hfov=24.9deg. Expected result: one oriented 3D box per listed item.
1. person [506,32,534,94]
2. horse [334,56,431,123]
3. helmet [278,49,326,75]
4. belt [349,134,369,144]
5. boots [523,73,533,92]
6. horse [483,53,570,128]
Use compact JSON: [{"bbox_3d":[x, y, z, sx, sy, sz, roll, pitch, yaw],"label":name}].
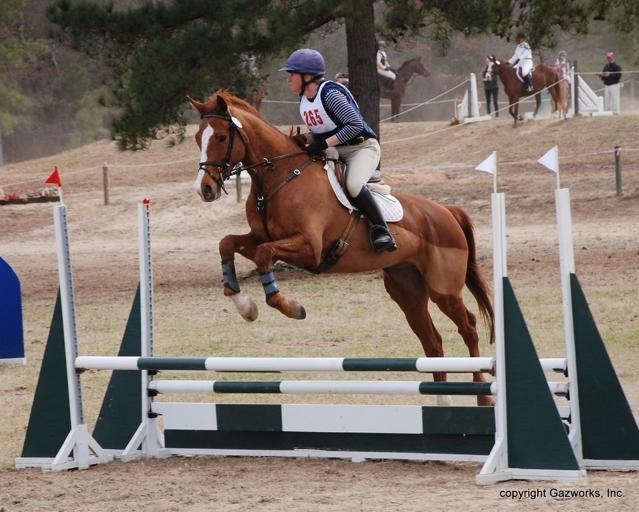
[{"bbox_3d":[4.327,-4.089,30.871,0.505,1.110,0.790,-5,8,9],"label":"person"},{"bbox_3d":[1.690,-4.081,36.043,2.284,1.549,0.538,-6,-6,26],"label":"horse"},{"bbox_3d":[-0.166,-2.387,17.717,0.449,0.224,0.298,8,3,-13],"label":"helmet"},{"bbox_3d":[0.501,-1.451,17.735,0.149,0.049,0.126,-23,-4,6],"label":"belt"},{"bbox_3d":[4.477,-3.766,30.886,0.246,0.242,0.590,12,-11,16],"label":"boots"},{"bbox_3d":[4.552,-3.649,31.659,2.317,1.484,0.545,-10,10,-35],"label":"horse"}]
